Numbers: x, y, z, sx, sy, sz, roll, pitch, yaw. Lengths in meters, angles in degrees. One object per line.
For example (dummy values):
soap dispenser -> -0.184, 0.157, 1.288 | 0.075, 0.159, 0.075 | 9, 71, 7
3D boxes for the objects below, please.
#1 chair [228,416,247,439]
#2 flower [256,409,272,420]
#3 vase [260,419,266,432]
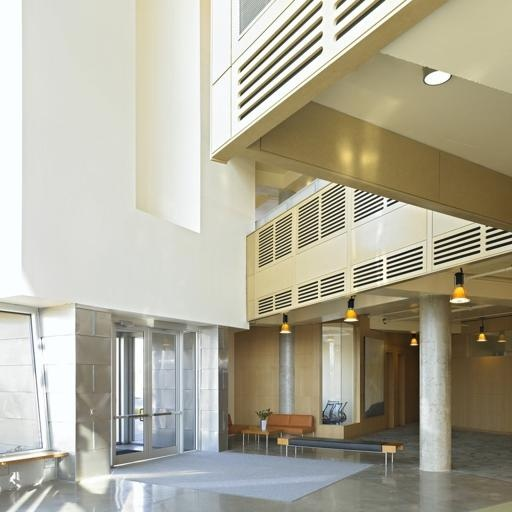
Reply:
chair -> -0.495, 4.589, 14.148 | 0.474, 0.504, 1.116 | -3, -10, 16
flower -> 0.152, 3.975, 13.322 | 0.483, 0.277, 0.469 | -14, -19, 40
vase -> 0.189, 4.118, 12.873 | 0.117, 0.267, 0.382 | 1, -8, -6
